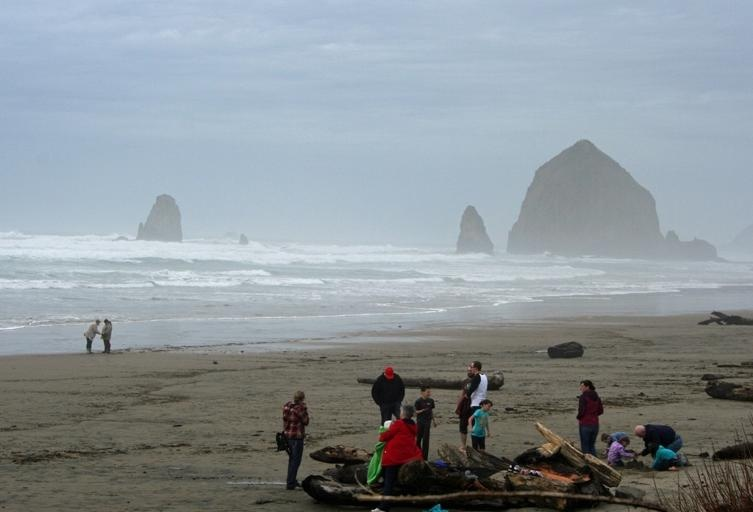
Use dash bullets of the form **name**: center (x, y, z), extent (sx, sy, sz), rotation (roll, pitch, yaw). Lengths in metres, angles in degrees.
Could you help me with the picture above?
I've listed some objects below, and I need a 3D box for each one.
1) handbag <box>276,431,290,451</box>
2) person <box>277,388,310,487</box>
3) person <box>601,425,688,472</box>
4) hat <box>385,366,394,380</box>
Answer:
- **handbag**: center (-2.409, 4.798, 27.526), extent (0.305, 0.474, 0.295), rotation (0, -7, -4)
- **person**: center (-2.168, 4.794, 27.753), extent (0.777, 2.505, 0.832), rotation (0, -8, -4)
- **person**: center (7.108, 5.055, 28.229), extent (2.092, 0.724, 1.209), rotation (0, -6, 12)
- **hat**: center (0.371, 3.225, 29.715), extent (0.291, 0.158, 0.336), rotation (2, 21, -10)
